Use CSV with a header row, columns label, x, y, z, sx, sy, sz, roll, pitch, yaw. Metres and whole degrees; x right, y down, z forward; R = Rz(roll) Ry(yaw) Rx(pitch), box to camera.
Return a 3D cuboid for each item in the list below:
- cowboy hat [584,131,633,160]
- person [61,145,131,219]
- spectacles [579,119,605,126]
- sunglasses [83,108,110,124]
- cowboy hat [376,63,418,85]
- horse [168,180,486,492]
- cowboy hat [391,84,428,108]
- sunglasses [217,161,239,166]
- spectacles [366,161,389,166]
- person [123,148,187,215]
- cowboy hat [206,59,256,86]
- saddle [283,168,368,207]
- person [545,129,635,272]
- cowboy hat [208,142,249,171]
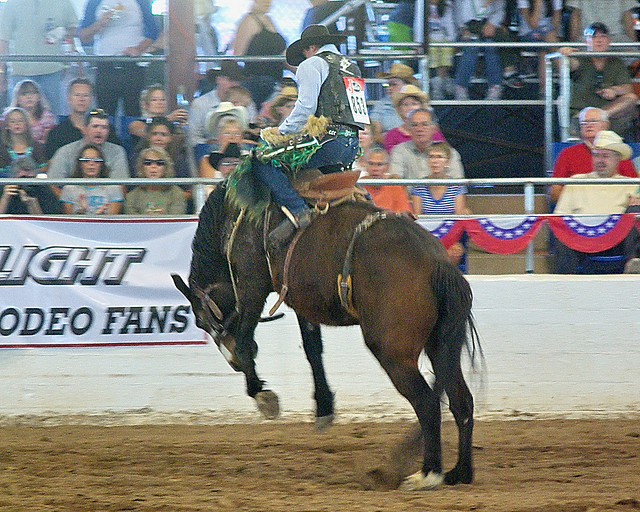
label,x,y,z,sx,sy,sz,roll,pitch,yaw
cowboy hat,2.659,-1.010,13.757,0.428,0.243,0.264,-1,15,8
person,-2.021,-0.643,13.300,0.318,0.832,0.632,-6,-13,-33
spectacles,2.535,-1.244,13.980,0.228,0.063,0.082,4,16,25
sunglasses,-2.064,-1.294,13.725,0.142,0.100,0.223,9,18,39
cowboy hat,0.758,-1.730,14.147,0.247,0.084,0.269,2,11,-41
horse,0.126,0.551,11.577,2.428,2.105,0.732,12,23,44
cowboy hat,0.822,-1.494,14.073,0.324,0.096,0.311,0,-2,2
sunglasses,-0.837,-0.828,13.430,0.131,0.026,0.118,-1,2,27
spectacles,0.500,-0.830,13.482,0.175,0.044,0.053,-2,15,2
person,-1.460,-0.614,13.394,0.615,0.627,0.423,-2,-15,22
cowboy hat,-0.863,-1.734,14.093,0.381,0.106,0.278,7,8,8
saddle,0.044,-0.537,11.553,0.519,0.317,0.481,7,15,-2
person,2.506,-0.456,13.509,0.683,1.121,0.847,4,17,24
cowboy hat,-0.835,-0.901,13.599,0.321,0.114,0.349,9,17,35
